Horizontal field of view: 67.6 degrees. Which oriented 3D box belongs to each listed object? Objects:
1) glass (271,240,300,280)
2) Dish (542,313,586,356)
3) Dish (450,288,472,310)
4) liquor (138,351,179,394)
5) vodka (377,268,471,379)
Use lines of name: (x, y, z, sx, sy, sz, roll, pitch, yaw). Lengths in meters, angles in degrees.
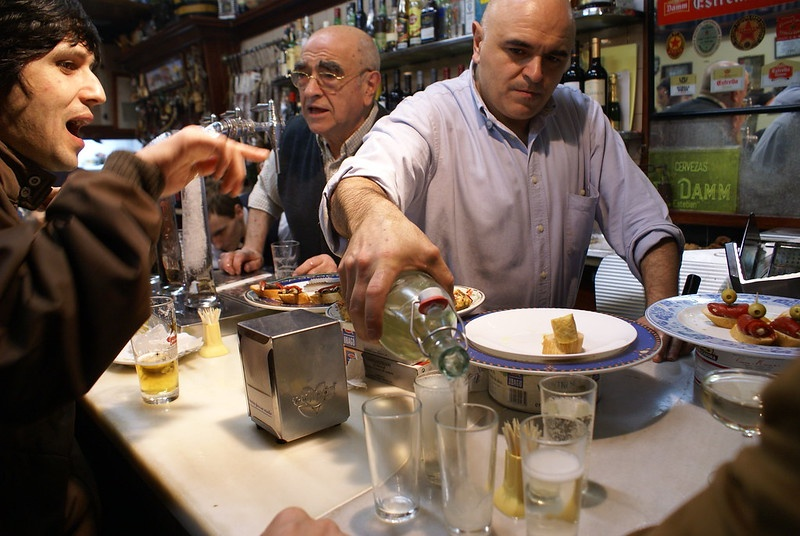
glass: (-0.558, -0.039, 2.911, 0.156, 0.264, 0.162, -1, 3, -10)
Dish: (0.430, 0.177, 1.579, 0.101, 0.105, 0.100, -1, 5, 5)
Dish: (0.193, 0.088, 1.877, 0.064, 0.020, 0.065, 13, 18, 41)
liquor: (-0.692, 0.295, 1.777, 0.109, 0.132, 0.117, 1, 4, 18)
vodka: (0.049, 0.134, 1.298, 0.187, 0.210, 0.263, -5, 16, -3)
